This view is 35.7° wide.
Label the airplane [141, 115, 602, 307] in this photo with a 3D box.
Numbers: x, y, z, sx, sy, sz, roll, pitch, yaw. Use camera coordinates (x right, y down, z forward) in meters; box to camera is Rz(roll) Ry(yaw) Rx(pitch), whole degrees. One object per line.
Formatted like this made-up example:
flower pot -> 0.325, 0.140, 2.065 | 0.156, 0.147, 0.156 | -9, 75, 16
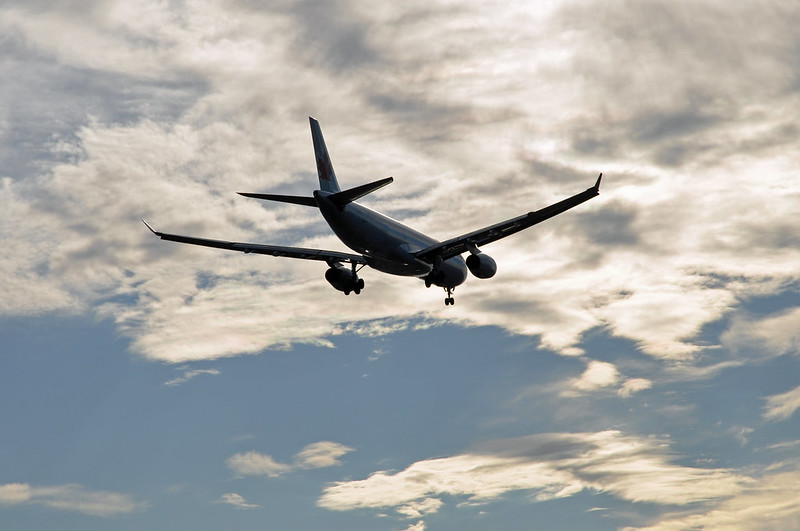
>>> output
airplane -> 0.068, -1.209, 81.910 | 24.432, 5.539, 15.775 | -5, -16, 30
